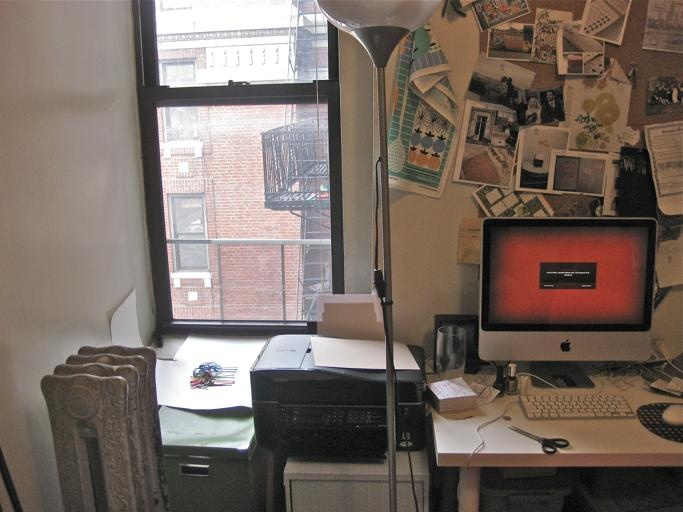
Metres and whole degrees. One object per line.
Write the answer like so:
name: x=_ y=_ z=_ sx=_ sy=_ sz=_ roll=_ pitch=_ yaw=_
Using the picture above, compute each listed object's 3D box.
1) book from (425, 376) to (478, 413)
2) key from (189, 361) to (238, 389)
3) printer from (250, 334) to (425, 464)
book: x=0.396 y=0.498 z=2.344 sx=0.111 sy=0.045 sz=0.118 roll=-3 pitch=22 yaw=0
key: x=-0.539 y=0.509 z=2.772 sx=0.134 sy=0.052 sz=0.106 roll=-2 pitch=20 yaw=-6
printer: x=-0.037 y=0.450 z=2.493 sx=0.523 sy=0.315 sz=0.367 roll=0 pitch=1 yaw=2
